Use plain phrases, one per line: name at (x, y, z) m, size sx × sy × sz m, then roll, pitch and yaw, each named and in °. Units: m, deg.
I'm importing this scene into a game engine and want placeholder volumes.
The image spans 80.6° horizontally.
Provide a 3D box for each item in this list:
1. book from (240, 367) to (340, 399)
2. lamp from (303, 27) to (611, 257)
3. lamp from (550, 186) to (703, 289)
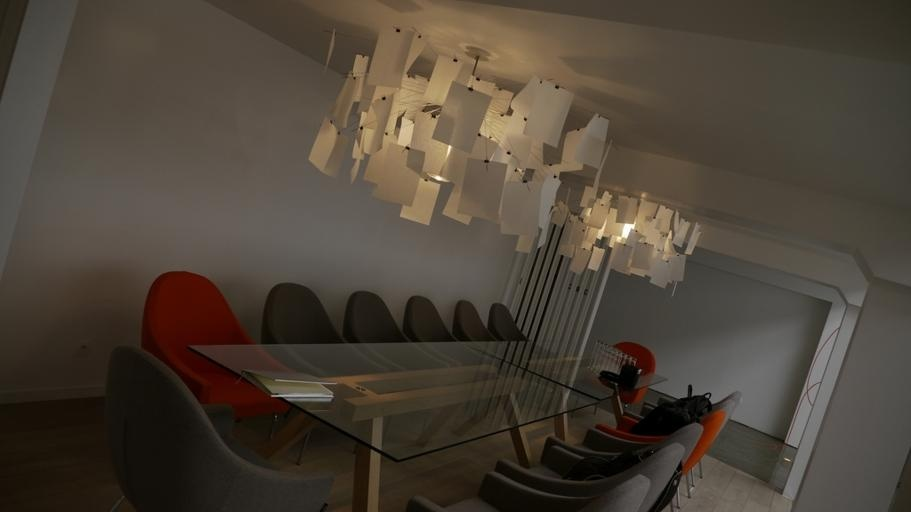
book at (-1.214, 0.935, 3.886) m, size 0.652 × 0.143 × 0.331 m, roll 13°, pitch 3°, yaw -23°
lamp at (0.025, -0.920, 4.214) m, size 2.197 × 1.452 × 0.703 m, roll 14°, pitch 3°, yaw -1°
lamp at (2.207, -0.372, 6.612) m, size 1.384 × 0.496 × 1.059 m, roll 18°, pitch -4°, yaw -4°
